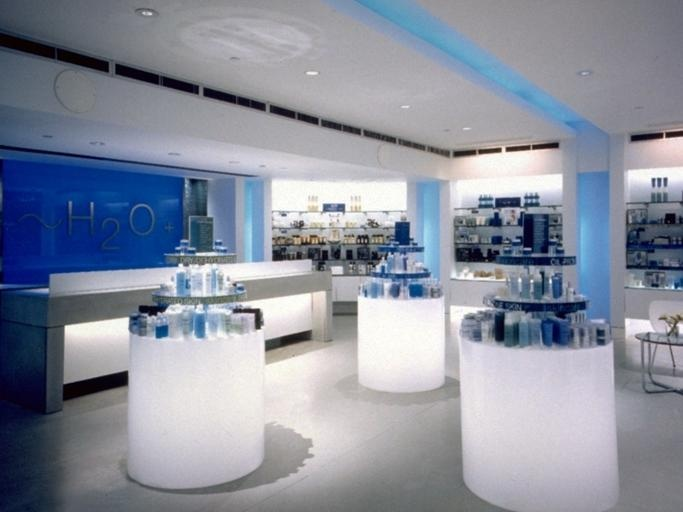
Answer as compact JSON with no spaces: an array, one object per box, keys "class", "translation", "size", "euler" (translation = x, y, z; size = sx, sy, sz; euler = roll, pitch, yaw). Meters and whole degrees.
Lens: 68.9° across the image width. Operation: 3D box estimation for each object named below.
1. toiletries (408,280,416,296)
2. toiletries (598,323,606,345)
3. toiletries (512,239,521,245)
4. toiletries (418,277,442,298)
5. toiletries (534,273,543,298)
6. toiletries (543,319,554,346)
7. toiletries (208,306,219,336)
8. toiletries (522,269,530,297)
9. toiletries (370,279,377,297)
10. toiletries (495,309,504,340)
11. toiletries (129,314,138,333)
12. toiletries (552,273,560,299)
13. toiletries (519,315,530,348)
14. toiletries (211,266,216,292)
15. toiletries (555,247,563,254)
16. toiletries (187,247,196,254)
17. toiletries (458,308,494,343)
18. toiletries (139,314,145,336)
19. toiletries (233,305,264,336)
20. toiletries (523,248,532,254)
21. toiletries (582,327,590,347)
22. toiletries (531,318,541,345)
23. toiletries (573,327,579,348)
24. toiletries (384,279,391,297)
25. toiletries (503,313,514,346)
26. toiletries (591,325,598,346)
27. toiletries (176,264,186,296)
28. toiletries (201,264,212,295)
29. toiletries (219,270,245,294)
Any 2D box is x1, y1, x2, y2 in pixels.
[{"class":"toiletries","translation":[1.027,0.475,7.157],"size":[0.173,0.267,0.180],"euler":[-1,0,9]},{"class":"toiletries","translation":[2.334,0.692,4.427],"size":[0.128,0.158,0.071],"euler":[-3,6,-28]},{"class":"toiletries","translation":[1.832,-0.143,5.236],"size":[0.095,0.069,0.097],"euler":[-3,-3,41]},{"class":"toiletries","translation":[1.279,0.448,7.167],"size":[0.293,0.258,0.477],"euler":[3,6,28]},{"class":"toiletries","translation":[1.902,0.286,4.762],"size":[0.163,0.216,0.071],"euler":[-4,6,-35]},{"class":"toiletries","translation":[1.836,0.685,4.412],"size":[0.077,0.203,0.203],"euler":[0,0,14]},{"class":"toiletries","translation":[-1.251,0.652,4.853],"size":[0.110,0.235,0.046],"euler":[-2,5,-11]},{"class":"toiletries","translation":[1.787,0.288,4.797],"size":[0.081,0.209,0.158],"euler":[2,6,21]},{"class":"toiletries","translation":[0.476,0.454,7.141],"size":[0.086,0.219,0.138],"euler":[0,5,3]},{"class":"toiletries","translation":[1.459,0.647,4.583],"size":[0.095,0.264,0.096],"euler":[3,6,31]},{"class":"toiletries","translation":[-2.042,0.658,4.911],"size":[0.081,0.173,0.162],"euler":[-4,7,-34]},{"class":"toiletries","translation":[2.096,0.282,4.844],"size":[0.081,0.231,0.144],"euler":[2,6,29]},{"class":"toiletries","translation":[1.657,0.668,4.504],"size":[0.083,0.248,0.206],"euler":[1,6,19]},{"class":"toiletries","translation":[-1.273,0.232,4.975],"size":[0.059,0.247,0.053],"euler":[-2,5,-15]},{"class":"toiletries","translation":[2.192,-0.041,5.006],"size":[0.078,0.022,0.088],"euler":[3,15,7]},{"class":"toiletries","translation":[-1.673,-0.059,5.539],"size":[0.092,0.095,0.093],"euler":[2,-4,-17]},{"class":"toiletries","translation":[1.299,0.663,4.765],"size":[0.267,0.101,0.264],"euler":[-2,2,-38]},{"class":"toiletries","translation":[-1.935,0.670,4.844],"size":[0.066,0.186,0.146],"euler":[-3,6,-26]},{"class":"toiletries","translation":[-0.971,0.647,5.137],"size":[0.298,0.210,0.367],"euler":[-1,6,-4]},{"class":"toiletries","translation":[1.849,-0.050,4.944],"size":[0.061,0.064,0.062],"euler":[-1,-5,14]},{"class":"toiletries","translation":[2.172,0.706,4.398],"size":[0.070,0.159,0.134],"euler":[2,6,28]},{"class":"toiletries","translation":[1.741,0.680,4.453],"size":[0.090,0.219,0.094],"euler":[1,5,17]},{"class":"toiletries","translation":[2.090,0.706,4.397],"size":[0.069,0.163,0.169],"euler":[2,6,24]},{"class":"toiletries","translation":[0.652,0.462,7.071],"size":[0.105,0.217,0.186],"euler":[0,5,6]},{"class":"toiletries","translation":[1.513,0.656,4.486],"size":[0.083,0.280,0.135],"euler":[1,6,20]},{"class":"toiletries","translation":[2.241,0.700,4.418],"size":[0.061,0.158,0.119],"euler":[2,6,23]},{"class":"toiletries","translation":[-1.607,0.247,4.993],"size":[0.108,0.271,0.199],"euler":[-1,5,-2]},{"class":"toiletries","translation":[-1.351,0.236,4.982],"size":[0.092,0.272,0.188],"euler":[-2,6,-16]},{"class":"toiletries","translation":[-1.121,0.253,5.122],"size":[0.247,0.215,0.515],"euler":[-1,6,-6]}]
